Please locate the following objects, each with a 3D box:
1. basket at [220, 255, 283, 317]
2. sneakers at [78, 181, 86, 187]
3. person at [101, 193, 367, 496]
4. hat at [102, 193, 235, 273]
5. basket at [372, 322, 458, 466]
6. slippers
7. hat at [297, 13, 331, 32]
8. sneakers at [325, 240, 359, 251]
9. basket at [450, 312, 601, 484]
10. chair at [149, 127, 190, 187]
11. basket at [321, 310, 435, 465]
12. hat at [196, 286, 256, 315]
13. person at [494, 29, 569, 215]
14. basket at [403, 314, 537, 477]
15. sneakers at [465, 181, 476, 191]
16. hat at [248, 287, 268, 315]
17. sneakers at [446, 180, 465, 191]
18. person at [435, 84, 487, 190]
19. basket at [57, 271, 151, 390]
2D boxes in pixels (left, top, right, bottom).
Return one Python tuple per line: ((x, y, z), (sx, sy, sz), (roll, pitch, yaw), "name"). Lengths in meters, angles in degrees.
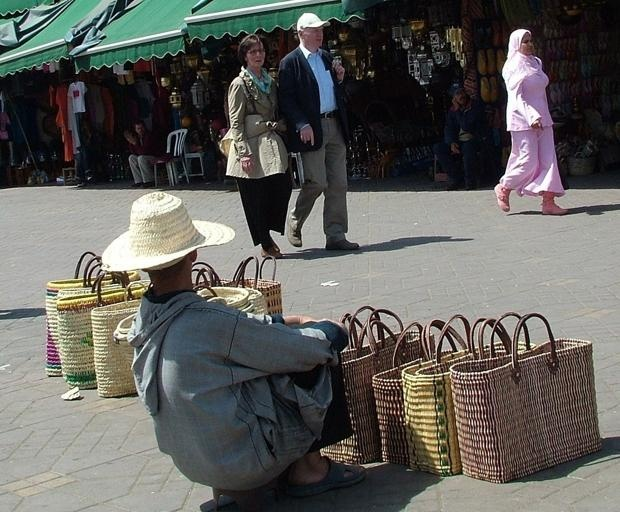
((-0.384, 0.230, 4.826), (0.396, 0.416, 0.250), (2, 1, 6), "basket")
((-6.326, -1.993, 17.842), (0.233, 0.130, 0.583), (-10, 11, -18), "sneakers")
((-0.356, 0.437, 2.879), (0.977, 1.304, 0.897), (-5, -3, -25), "person")
((-0.598, -0.116, 2.663), (0.574, 0.233, 0.587), (-7, 13, 12), "hat")
((0.476, 0.664, 2.965), (0.239, 0.636, 0.663), (-6, -1, 29), "basket")
((0.086, 0.968, 2.922), (0.325, 0.125, 0.158), (-5, 7, -19), "slippers")
((0.003, -2.697, 7.502), (0.348, 0.162, 0.267), (6, 22, 40), "hat")
((0.405, -0.124, 8.126), (0.417, 0.169, 0.154), (-1, 4, 15), "sneakers")
((0.968, 0.581, 2.885), (0.694, 0.685, 0.255), (-9, 4, -20), "basket")
((-3.554, -2.516, 16.428), (0.984, 1.371, 1.920), (-8, 10, -13), "chair")
((0.395, 0.621, 3.110), (0.338, 0.745, 0.878), (-5, -5, -22), "basket")
((-0.443, 0.236, 3.378), (0.221, 0.087, 0.240), (-1, 3, -3), "hat")
((2.960, -1.807, 8.762), (0.885, 2.536, 0.579), (-2, 10, 21), "person")
((0.783, 0.655, 3.060), (0.744, 0.680, 0.696), (-11, -14, 37), "basket")
((2.904, -1.283, 11.639), (0.086, 0.146, 0.148), (-20, 1, 28), "sneakers")
((-0.333, 0.306, 4.127), (0.135, 0.066, 0.181), (-6, 24, -13), "hat")
((2.607, -1.310, 11.908), (0.451, 0.193, 0.153), (-7, 9, -9), "sneakers")
((2.737, -2.149, 11.812), (0.803, 1.804, 0.650), (-1, 11, 28), "person")
((-1.464, 0.507, 4.712), (0.342, 0.899, 0.723), (-20, -5, 33), "basket")
